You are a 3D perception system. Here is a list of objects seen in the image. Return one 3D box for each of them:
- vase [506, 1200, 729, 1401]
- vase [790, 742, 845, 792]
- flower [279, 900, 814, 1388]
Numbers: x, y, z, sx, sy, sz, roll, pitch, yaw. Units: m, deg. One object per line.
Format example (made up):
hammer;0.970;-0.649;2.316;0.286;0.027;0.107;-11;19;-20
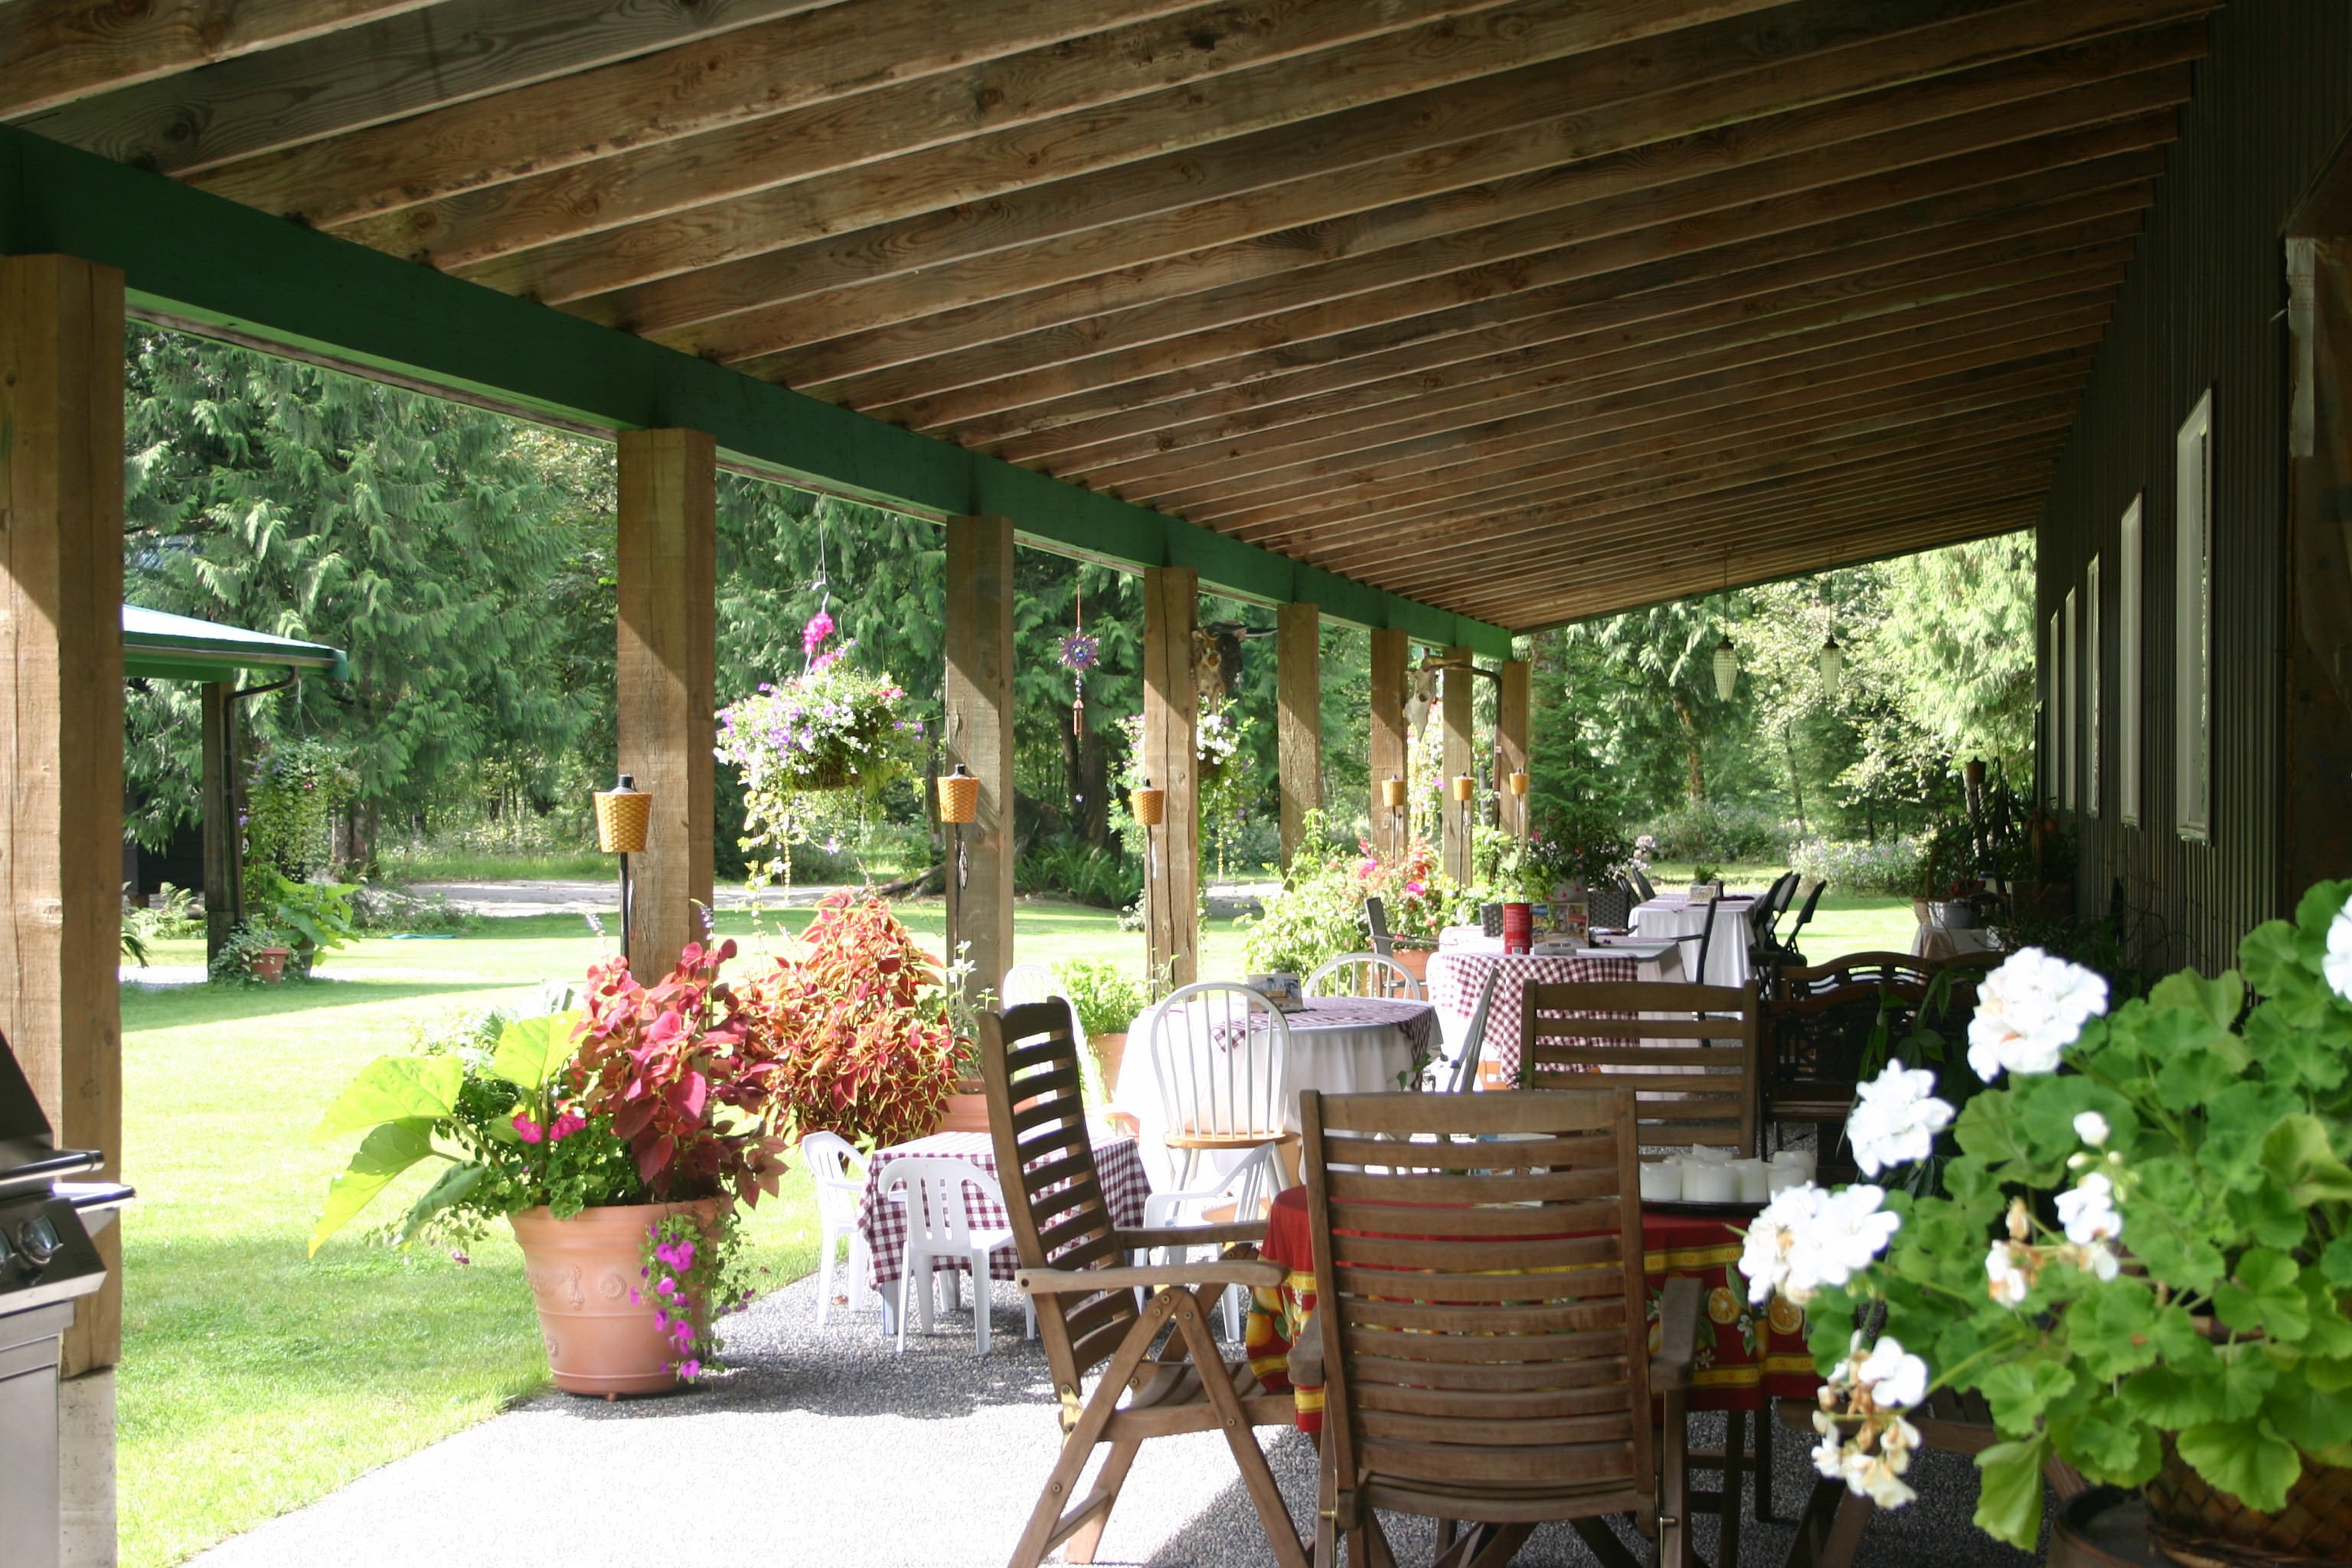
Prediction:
vase;-1.627;1.479;5.829;0.575;0.474;0.590;-1;-11;2
vase;-1.366;-0.061;7.543;0.145;0.124;0.160;-12;-17;25
flower;-1.802;1.073;6.006;1.288;1.098;1.329;-2;-7;5
